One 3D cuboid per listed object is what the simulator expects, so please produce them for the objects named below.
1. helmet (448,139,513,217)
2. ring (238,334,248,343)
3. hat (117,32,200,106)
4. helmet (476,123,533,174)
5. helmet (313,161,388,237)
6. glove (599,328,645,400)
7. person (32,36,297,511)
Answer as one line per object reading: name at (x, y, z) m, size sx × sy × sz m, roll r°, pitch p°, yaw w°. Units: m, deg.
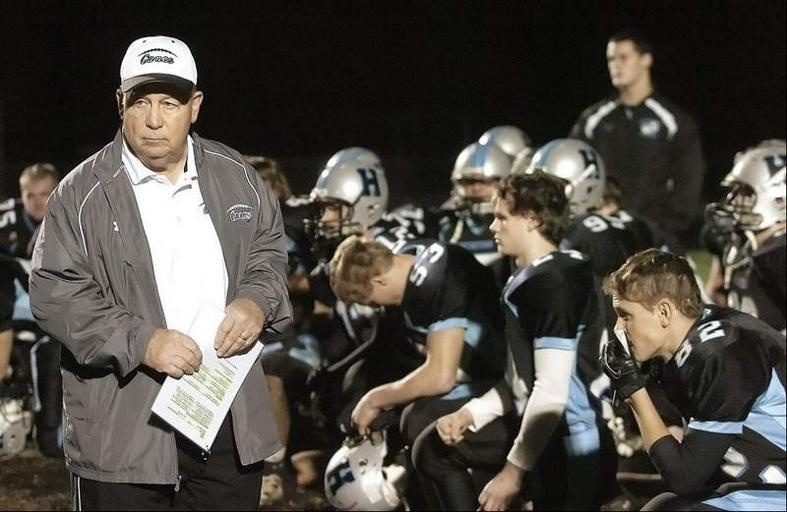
helmet at (0.653, -0.579, 5.801) m, size 0.480 × 0.597 × 0.599 m, roll 5°, pitch 9°, yaw 9°
ring at (-0.647, 0.359, 3.452) m, size 0.043 × 0.032 × 0.024 m, roll 40°, pitch -3°, yaw 37°
hat at (-1.038, -0.873, 3.562) m, size 0.330 × 0.236 × 0.470 m, roll 1°, pitch 19°, yaw -4°
helmet at (0.814, -0.759, 5.835) m, size 0.410 × 0.372 × 0.366 m, roll 5°, pitch -3°, yaw 22°
helmet at (-0.305, -0.430, 5.541) m, size 0.570 × 0.527 × 0.484 m, roll -11°, pitch 9°, yaw -7°
glove at (1.064, 0.516, 3.741) m, size 0.119 × 0.317 × 0.242 m, roll -18°, pitch 30°, yaw 6°
person at (-1.010, 0.086, 3.502) m, size 1.082 × 2.122 × 0.314 m, roll 0°, pitch 0°, yaw -3°
